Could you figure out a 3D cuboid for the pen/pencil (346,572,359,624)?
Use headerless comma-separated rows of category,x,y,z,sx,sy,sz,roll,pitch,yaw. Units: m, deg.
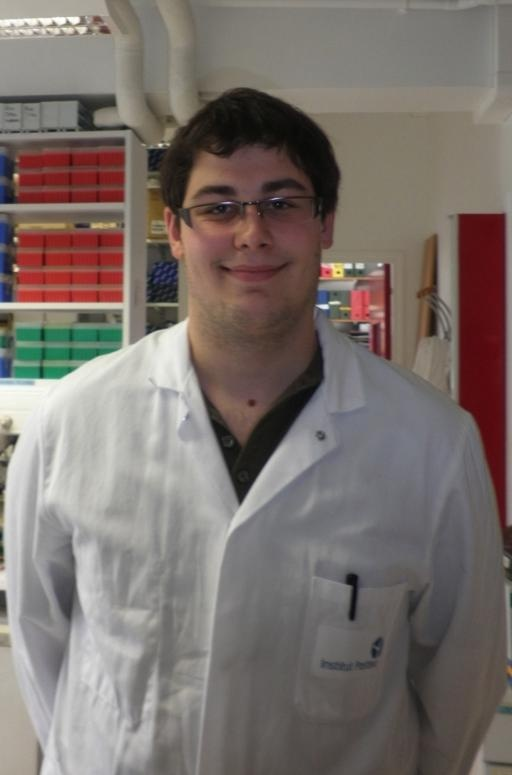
pen/pencil,0.147,0.327,1.262,0.021,0.074,0.019,0,3,-1

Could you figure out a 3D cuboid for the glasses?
glasses,-0.011,-0.280,1.306,0.223,0.064,0.053,0,3,-5
